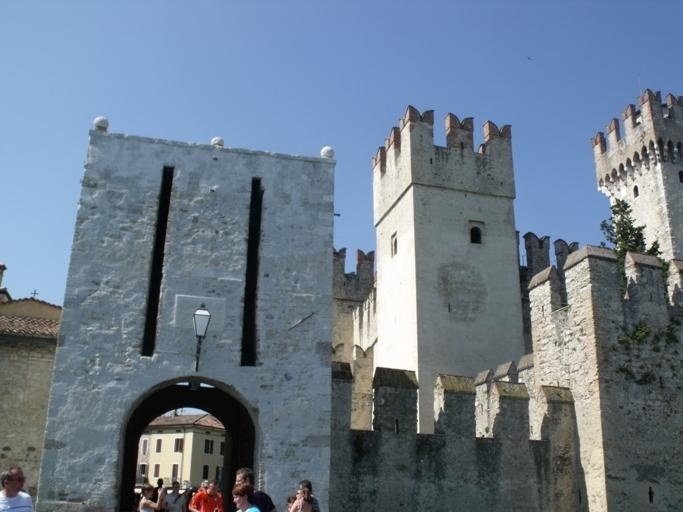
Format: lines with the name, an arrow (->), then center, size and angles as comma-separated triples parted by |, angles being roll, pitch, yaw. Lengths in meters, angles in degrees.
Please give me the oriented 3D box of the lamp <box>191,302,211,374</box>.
lamp -> -2.790, 1.595, 15.783 | 0.344, 1.380, 0.511 | 4, -20, -8
